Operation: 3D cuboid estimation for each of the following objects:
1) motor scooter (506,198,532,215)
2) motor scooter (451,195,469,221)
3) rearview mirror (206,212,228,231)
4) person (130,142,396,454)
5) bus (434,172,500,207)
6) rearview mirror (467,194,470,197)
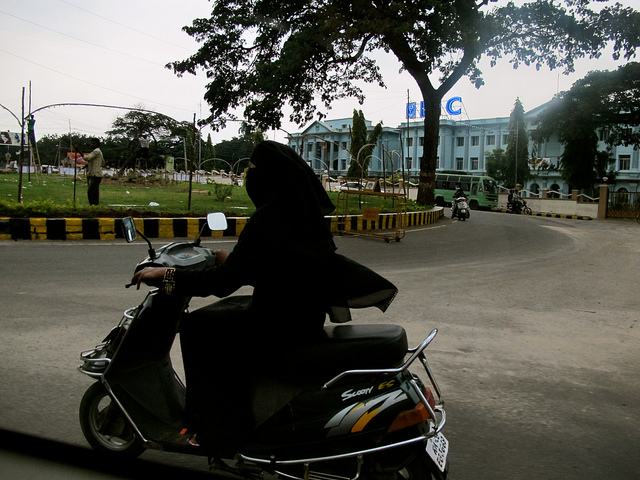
[{"bbox_3d":[13.875,-2.330,35.621,1.569,1.044,0.996,0,3,26],"label":"motor scooter"},{"bbox_3d":[6.686,-1.567,24.355,0.530,1.086,1.607,3,8,3],"label":"motor scooter"},{"bbox_3d":[-0.697,-0.122,3.428,0.038,0.118,0.172,-12,-6,27],"label":"rearview mirror"},{"bbox_3d":[-0.317,0.352,3.144,1.439,1.740,0.795,7,7,19],"label":"person"},{"bbox_3d":[11.577,-3.861,39.898,1.687,2.489,5.237,-2,10,-32],"label":"bus"},{"bbox_3d":[11.354,-3.435,38.965,0.176,0.172,0.044,-3,-8,0],"label":"rearview mirror"}]
